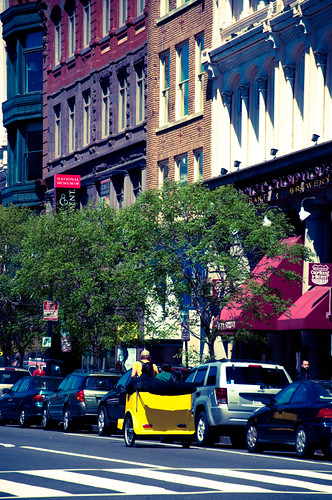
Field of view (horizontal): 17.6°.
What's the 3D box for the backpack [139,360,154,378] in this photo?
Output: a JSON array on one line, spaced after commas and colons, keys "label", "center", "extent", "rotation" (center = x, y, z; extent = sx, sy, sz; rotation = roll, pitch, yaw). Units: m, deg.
[{"label": "backpack", "center": [-0.324, 2.083, 18.458], "extent": [0.180, 0.283, 0.246], "rotation": [2, -17, -7]}]
